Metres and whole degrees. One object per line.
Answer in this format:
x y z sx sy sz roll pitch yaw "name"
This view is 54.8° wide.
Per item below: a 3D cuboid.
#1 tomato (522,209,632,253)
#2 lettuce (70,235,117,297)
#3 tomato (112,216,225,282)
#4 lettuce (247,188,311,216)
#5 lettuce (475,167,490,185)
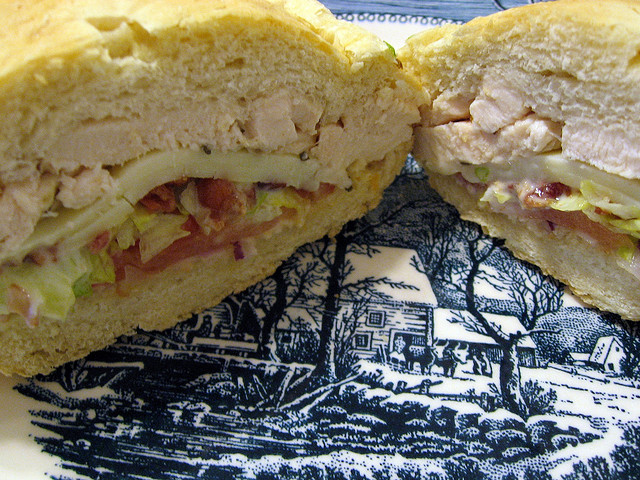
1.105 -0.057 2.587 0.218 0.061 0.214 26 -9 36 "tomato"
-0.853 0.096 2.364 0.174 0.213 0.057 -5 24 -41 "lettuce"
-0.626 0.061 2.531 0.340 0.098 0.268 -20 7 -31 "tomato"
-0.165 -0.162 2.640 0.309 0.140 0.049 -9 22 -30 "lettuce"
0.726 -0.291 2.768 0.065 0.072 0.024 10 20 20 "lettuce"
